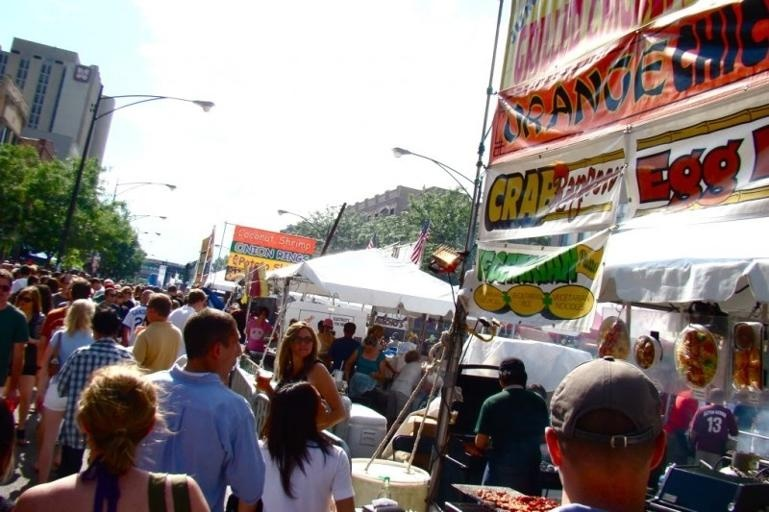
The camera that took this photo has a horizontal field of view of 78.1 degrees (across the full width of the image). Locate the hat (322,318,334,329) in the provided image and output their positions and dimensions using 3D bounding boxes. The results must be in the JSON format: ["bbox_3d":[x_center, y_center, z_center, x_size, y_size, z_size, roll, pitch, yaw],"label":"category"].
[{"bbox_3d":[-1.571,1.854,13.115,0.303,0.230,0.465,3,-17,-6],"label":"hat"}]

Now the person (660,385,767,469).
[{"bbox_3d":[4.260,2.336,6.435,0.814,1.085,1.096,3,-10,39],"label":"person"}]

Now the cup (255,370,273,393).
[{"bbox_3d":[-1.398,1.423,5.527,0.241,0.210,0.265,2,2,0],"label":"cup"}]

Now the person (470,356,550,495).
[{"bbox_3d":[1.538,1.988,5.655,0.839,1.509,0.395,8,-8,8],"label":"person"}]
